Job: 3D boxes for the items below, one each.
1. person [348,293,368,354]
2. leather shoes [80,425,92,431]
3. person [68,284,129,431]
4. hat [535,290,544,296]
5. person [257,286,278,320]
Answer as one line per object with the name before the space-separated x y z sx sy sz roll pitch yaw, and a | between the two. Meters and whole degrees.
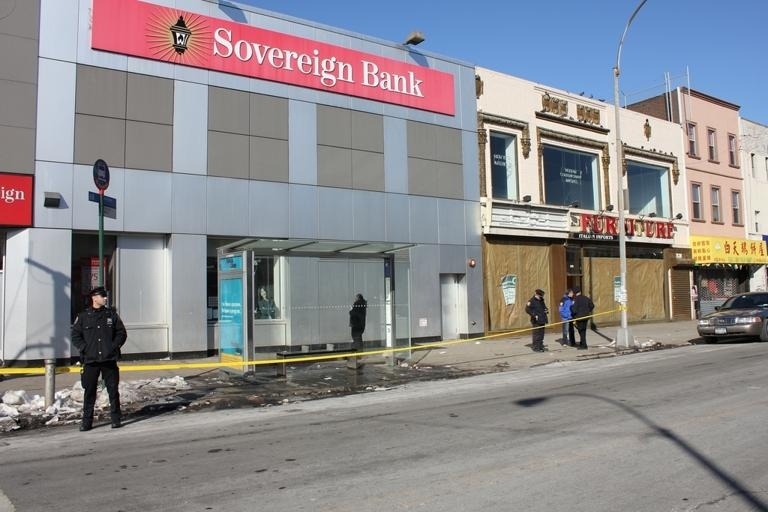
person | -0.801 1.960 20.158 0.496 1.522 0.963 0 4 6
leather shoes | -6.462 3.697 14.209 0.240 0.123 0.206 -3 4 -25
person | -6.246 2.223 14.477 1.079 3.016 0.801 -2 4 -17
hat | 5.717 1.331 24.014 0.269 0.155 0.352 6 4 42
person | -3.375 1.375 18.840 0.657 0.984 0.248 -3 0 -13
